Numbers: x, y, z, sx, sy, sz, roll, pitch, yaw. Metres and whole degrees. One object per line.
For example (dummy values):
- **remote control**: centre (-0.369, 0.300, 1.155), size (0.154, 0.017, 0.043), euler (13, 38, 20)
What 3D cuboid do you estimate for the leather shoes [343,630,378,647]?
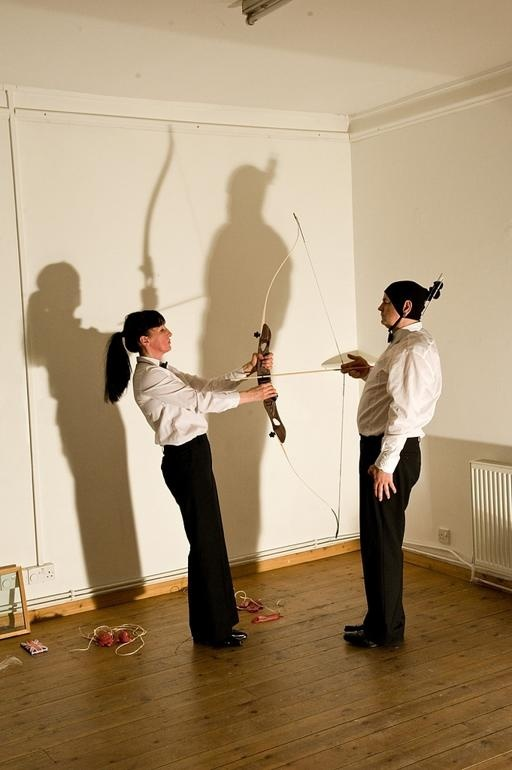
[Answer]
- **leather shoes**: centre (0.439, 1.073, 2.835), size (0.152, 0.056, 0.052), euler (-9, -6, 38)

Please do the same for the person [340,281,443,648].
- **person**: centre (0.514, 0.348, 2.699), size (0.493, 1.242, 0.358), euler (-4, 1, 23)

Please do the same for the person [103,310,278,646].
- **person**: centre (-0.278, 0.406, 3.034), size (0.688, 1.365, 0.696), euler (-4, 1, -13)

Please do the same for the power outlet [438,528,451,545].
- **power outlet**: centre (1.056, 0.845, 3.718), size (0.013, 0.118, 0.116), euler (0, 0, -31)
